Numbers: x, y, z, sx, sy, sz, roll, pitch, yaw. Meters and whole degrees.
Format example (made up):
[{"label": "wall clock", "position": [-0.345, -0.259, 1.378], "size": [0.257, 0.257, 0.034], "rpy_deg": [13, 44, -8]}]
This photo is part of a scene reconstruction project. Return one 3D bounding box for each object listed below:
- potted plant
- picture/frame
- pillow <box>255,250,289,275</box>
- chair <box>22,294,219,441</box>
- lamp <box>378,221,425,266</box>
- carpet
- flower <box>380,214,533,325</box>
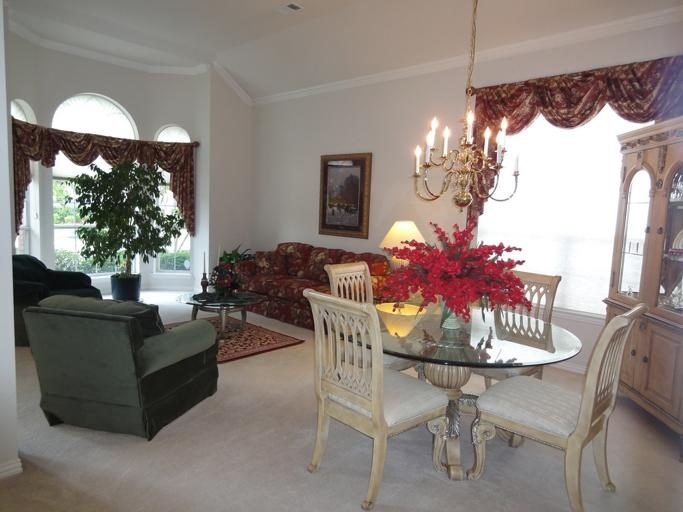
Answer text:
[{"label": "potted plant", "position": [-3.187, -0.626, 8.095], "size": [2.118, 2.716, 1.896], "rpy_deg": [-2, 12, -14]}, {"label": "picture/frame", "position": [0.045, -0.914, 7.463], "size": [1.040, 1.263, 0.182], "rpy_deg": [13, 18, 40]}, {"label": "pillow", "position": [-1.090, 0.106, 7.754], "size": [0.397, 0.403, 0.124], "rpy_deg": [-3, -14, 5]}, {"label": "chair", "position": [-1.778, 0.905, 4.434], "size": [1.109, 1.132, 1.302], "rpy_deg": [5, 14, 20]}, {"label": "lamp", "position": [0.713, -0.219, 6.108], "size": [0.561, 0.655, 0.576], "rpy_deg": [4, 13, 15]}, {"label": "carpet", "position": [-1.121, 1.046, 6.137], "size": [0.954, 0.017, 0.857], "rpy_deg": [13, 15, 42]}, {"label": "flower", "position": [0.867, 0.123, 3.767], "size": [0.824, 0.597, 0.841], "rpy_deg": [5, 12, 22]}]
